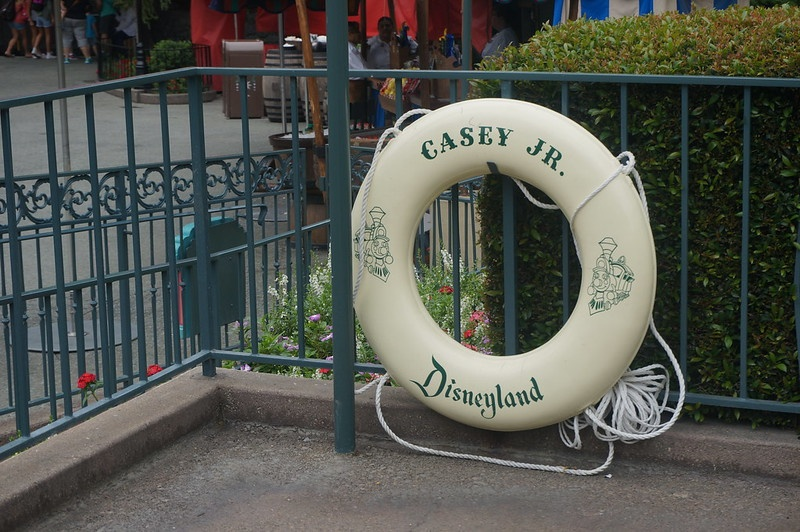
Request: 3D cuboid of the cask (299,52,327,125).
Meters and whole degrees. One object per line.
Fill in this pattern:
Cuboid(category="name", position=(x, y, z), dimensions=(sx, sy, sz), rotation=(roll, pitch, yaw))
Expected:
Cuboid(category="cask", position=(-1.090, -2.450, 14.838), dimensions=(0.564, 0.830, 0.571), rotation=(1, 6, -1))

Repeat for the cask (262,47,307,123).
Cuboid(category="cask", position=(-1.914, -2.944, 17.167), dimensions=(0.779, 1.115, 0.815), rotation=(12, 16, 34))

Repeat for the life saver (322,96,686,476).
Cuboid(category="life saver", position=(0.638, 0.156, 5.984), dimensions=(1.989, 2.176, 0.450), rotation=(3, 5, 20))
